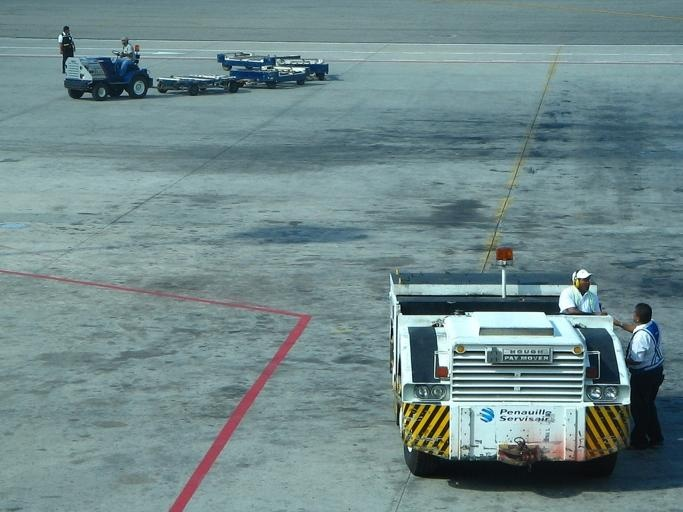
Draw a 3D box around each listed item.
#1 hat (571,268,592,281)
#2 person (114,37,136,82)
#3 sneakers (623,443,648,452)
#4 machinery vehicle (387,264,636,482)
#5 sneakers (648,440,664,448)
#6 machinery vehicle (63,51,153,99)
[{"bbox_3d":[3.539,0.284,17.462,0.222,0.096,0.277,-1,-3,-21],"label":"hat"},{"bbox_3d":[-7.594,-6.932,41.431,0.729,1.368,1.531,-4,16,-9],"label":"person"},{"bbox_3d":[4.298,2.740,17.019,0.473,0.079,0.285,1,7,7],"label":"sneakers"},{"bbox_3d":[2.435,1.443,17.972,3.370,1.832,5.041,0,10,3],"label":"machinery vehicle"},{"bbox_3d":[4.565,2.697,17.031,0.264,0.131,0.120,-1,-6,-15],"label":"sneakers"},{"bbox_3d":[-8.291,-6.195,41.526,2.924,1.129,1.719,-4,7,-42],"label":"machinery vehicle"}]
